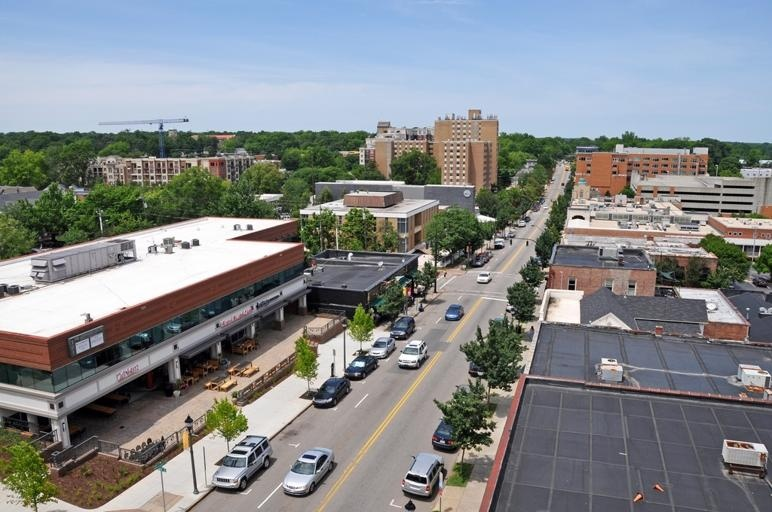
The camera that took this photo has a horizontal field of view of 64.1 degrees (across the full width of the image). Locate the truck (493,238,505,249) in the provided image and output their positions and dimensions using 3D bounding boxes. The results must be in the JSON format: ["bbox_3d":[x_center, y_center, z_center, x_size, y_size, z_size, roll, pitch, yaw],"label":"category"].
[{"bbox_3d":[22.158,-2.352,120.533,1.747,1.155,3.506,-2,3,17],"label":"truck"}]

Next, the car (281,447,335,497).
[{"bbox_3d":[-5.584,15.618,44.586,1.814,1.915,3.876,8,16,32],"label":"car"}]

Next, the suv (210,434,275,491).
[{"bbox_3d":[-10.506,15.290,45.160,2.128,2.352,4.410,8,16,32],"label":"suv"}]

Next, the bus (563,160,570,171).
[{"bbox_3d":[101.310,-50.046,345.128,2.660,1.603,80.337,3,14,15],"label":"bus"}]
